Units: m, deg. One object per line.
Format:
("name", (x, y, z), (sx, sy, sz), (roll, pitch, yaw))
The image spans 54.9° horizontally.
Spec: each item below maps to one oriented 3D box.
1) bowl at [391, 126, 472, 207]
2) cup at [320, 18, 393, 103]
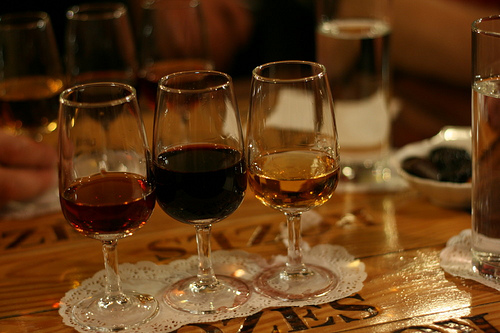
("bowl", (0.504, -0.026, 1.337), (0.203, 0.109, 0.387), (8, 33, 16))
("cup", (0.272, -0.315, 1.503), (0.238, 0.244, 0.231), (-3, 34, 2))
